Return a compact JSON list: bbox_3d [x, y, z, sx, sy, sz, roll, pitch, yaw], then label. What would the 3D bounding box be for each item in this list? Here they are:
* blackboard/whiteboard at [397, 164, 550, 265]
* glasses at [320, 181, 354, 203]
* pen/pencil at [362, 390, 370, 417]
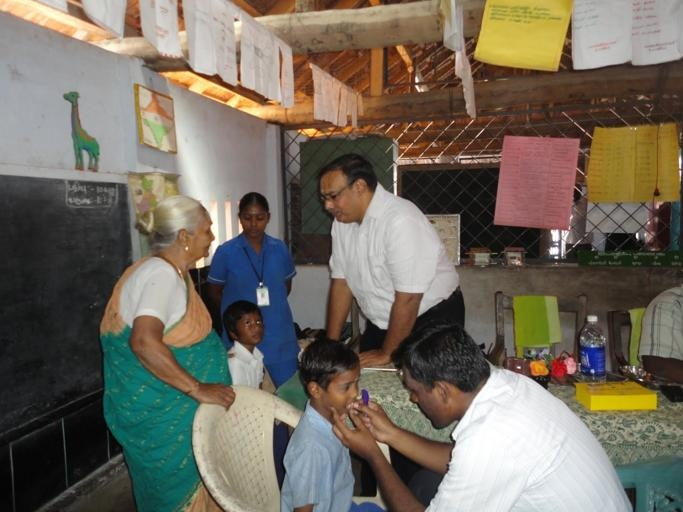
[{"bbox_3d":[1.171,-0.426,4.615,1.024,0.726,0.025,3,9,5],"label":"blackboard/whiteboard"},{"bbox_3d":[-0.019,-0.337,2.692,0.112,0.035,0.105,-45,18,-19],"label":"glasses"},{"bbox_3d":[0.105,0.635,2.284,0.021,0.084,0.021,-4,2,2],"label":"pen/pencil"}]
